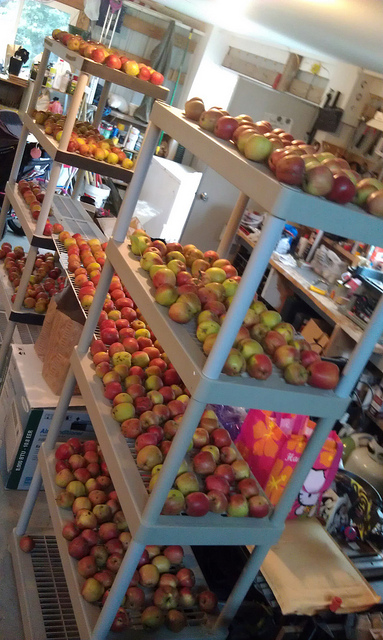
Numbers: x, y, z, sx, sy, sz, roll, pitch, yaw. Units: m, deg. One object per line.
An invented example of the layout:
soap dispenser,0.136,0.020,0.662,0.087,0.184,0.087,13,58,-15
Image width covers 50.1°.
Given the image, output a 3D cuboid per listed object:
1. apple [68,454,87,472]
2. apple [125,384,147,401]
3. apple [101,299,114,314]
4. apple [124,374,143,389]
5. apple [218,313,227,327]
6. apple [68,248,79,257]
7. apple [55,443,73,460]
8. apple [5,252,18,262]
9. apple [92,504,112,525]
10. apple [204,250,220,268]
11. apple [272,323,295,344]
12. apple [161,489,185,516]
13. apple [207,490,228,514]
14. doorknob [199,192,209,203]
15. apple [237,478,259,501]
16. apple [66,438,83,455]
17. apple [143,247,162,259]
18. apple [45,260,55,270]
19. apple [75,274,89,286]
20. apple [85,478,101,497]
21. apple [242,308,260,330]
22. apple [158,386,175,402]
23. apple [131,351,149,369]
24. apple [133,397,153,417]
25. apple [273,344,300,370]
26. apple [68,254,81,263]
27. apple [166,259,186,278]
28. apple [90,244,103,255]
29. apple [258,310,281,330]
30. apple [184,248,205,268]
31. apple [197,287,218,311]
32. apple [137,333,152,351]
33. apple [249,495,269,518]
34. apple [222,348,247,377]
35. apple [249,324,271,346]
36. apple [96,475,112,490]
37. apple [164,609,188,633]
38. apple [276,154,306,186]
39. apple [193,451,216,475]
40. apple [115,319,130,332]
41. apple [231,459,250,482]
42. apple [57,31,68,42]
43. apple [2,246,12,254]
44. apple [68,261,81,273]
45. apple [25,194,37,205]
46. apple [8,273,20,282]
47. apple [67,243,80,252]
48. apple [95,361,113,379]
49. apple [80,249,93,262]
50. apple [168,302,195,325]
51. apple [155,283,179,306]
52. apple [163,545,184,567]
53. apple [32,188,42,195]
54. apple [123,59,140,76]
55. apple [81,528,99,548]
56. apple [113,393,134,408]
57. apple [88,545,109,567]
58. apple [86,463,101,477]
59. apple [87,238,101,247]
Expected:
apple,-0.443,0.554,1.601,0.058,0.056,0.058,10,43,-41
apple,-0.185,0.239,1.341,0.046,0.049,0.057,-1,-14,4
apple,-0.393,-0.069,1.968,0.059,0.071,0.062,11,46,-9
apple,-0.191,0.202,1.388,0.044,0.046,0.046,-2,16,26
apple,0.064,0.000,0.856,0.016,0.020,0.016,40,63,9
apple,-0.703,-0.408,2.451,0.043,0.045,0.053,-9,-6,11
apple,-0.510,0.527,1.645,0.058,0.075,0.057,16,11,-47
apple,-1.469,-0.532,3.361,0.070,0.069,0.080,-17,49,-29
apple,-0.311,0.678,1.438,0.061,0.061,0.073,-20,57,2
apple,0.072,-0.223,1.488,0.058,0.070,0.058,16,22,36
apple,0.243,0.028,1.093,0.050,0.052,0.052,8,48,26
apple,-0.040,0.434,0.971,0.053,0.054,0.056,9,30,-3
apple,0.066,0.475,1.072,0.052,0.051,0.063,18,-11,19
doorknob,0.173,-1.674,5.553,0.113,0.089,0.034,18,-16,-19
apple,0.163,0.487,1.189,0.044,0.045,0.045,6,8,16
apple,-0.479,0.521,1.712,0.058,0.060,0.055,11,-7,4
apple,-0.119,-0.208,1.317,0.039,0.041,0.037,4,-18,-9
apple,-1.094,-0.433,3.183,0.071,0.067,0.081,-11,50,-32
apple,-0.578,-0.209,2.170,0.059,0.062,0.055,4,-8,-29
apple,-0.366,0.616,1.529,0.052,0.052,0.064,6,34,-16
apple,0.138,0.000,0.962,0.035,0.030,0.029,-34,56,-21
apple,-0.081,0.250,1.397,0.043,0.043,0.043,2,-25,-37
apple,-0.187,0.142,1.493,0.057,0.060,0.055,27,6,-10
apple,-0.159,0.280,1.334,0.056,0.071,0.054,15,-22,-19
apple,0.217,0.082,0.939,0.051,0.054,0.065,0,39,29
apple,-0.673,-0.361,2.368,0.049,0.058,0.049,26,12,-26
apple,-0.048,-0.159,1.194,0.053,0.053,0.054,-2,33,-13
apple,-0.580,-0.433,2.523,0.060,0.073,0.064,7,9,36
apple,0.212,-0.003,1.109,0.049,0.061,0.051,-12,45,-9
apple,0.008,-0.215,1.420,0.064,0.065,0.063,10,15,-46
apple,0.039,-0.064,1.074,0.054,0.054,0.056,8,31,-6
apple,-0.186,0.088,1.613,0.049,0.051,0.049,18,-17,24
apple,0.187,0.524,1.150,0.054,0.051,0.055,11,50,17
apple,0.083,0.083,0.790,0.040,0.056,0.048,4,-27,-17
apple,0.166,0.030,1.007,0.046,0.046,0.048,27,-22,28
apple,-0.333,0.617,1.568,0.045,0.045,0.055,15,-2,12
apple,-0.045,0.957,1.309,0.048,0.039,0.062,5,11,-26
apple,0.144,-0.222,0.629,0.048,0.049,0.058,-9,16,9
apple,0.037,0.406,1.163,0.058,0.057,0.063,50,0,21
apple,-0.288,0.024,1.705,0.045,0.057,0.045,25,-8,-12
apple,0.155,0.460,1.276,0.052,0.065,0.053,5,0,29
apple,-0.867,-1.906,2.752,0.028,0.067,0.176,16,22,-38
apple,-1.527,-0.590,3.402,0.065,0.058,0.057,24,35,15
apple,-0.657,-0.302,2.314,0.059,0.062,0.058,-2,12,-33
apple,-1.190,-0.898,3.032,0.075,0.078,0.092,-7,13,-12
apple,-1.312,-0.330,3.066,0.063,0.060,0.065,11,31,22
apple,-0.728,-0.455,2.527,0.057,0.057,0.060,2,-26,5
apple,-0.310,0.172,1.434,0.053,0.054,0.050,-15,-4,-45
apple,-0.623,-0.383,2.439,0.063,0.065,0.122,25,17,-17
apple,-0.025,-0.016,0.955,0.050,0.053,0.058,22,-10,-14
apple,-0.061,-0.062,1.003,0.052,0.051,0.052,8,-7,-4
apple,-0.068,0.845,1.481,0.082,0.057,0.045,19,19,-33
apple,-1.206,-1.005,3.198,0.048,0.035,0.062,4,18,-1
apple,-0.359,-1.535,2.484,0.086,0.091,0.088,-25,-8,-11
apple,-0.327,0.710,1.349,0.045,0.044,0.046,43,-8,0
apple,-0.210,0.236,1.284,0.043,0.045,0.053,-15,27,-11
apple,-0.292,0.753,1.314,0.058,0.062,0.072,-6,8,-2
apple,-0.379,0.578,1.601,0.046,0.059,0.046,-4,10,-20
apple,-0.611,-0.482,2.556,0.071,0.060,0.059,-6,2,-3
